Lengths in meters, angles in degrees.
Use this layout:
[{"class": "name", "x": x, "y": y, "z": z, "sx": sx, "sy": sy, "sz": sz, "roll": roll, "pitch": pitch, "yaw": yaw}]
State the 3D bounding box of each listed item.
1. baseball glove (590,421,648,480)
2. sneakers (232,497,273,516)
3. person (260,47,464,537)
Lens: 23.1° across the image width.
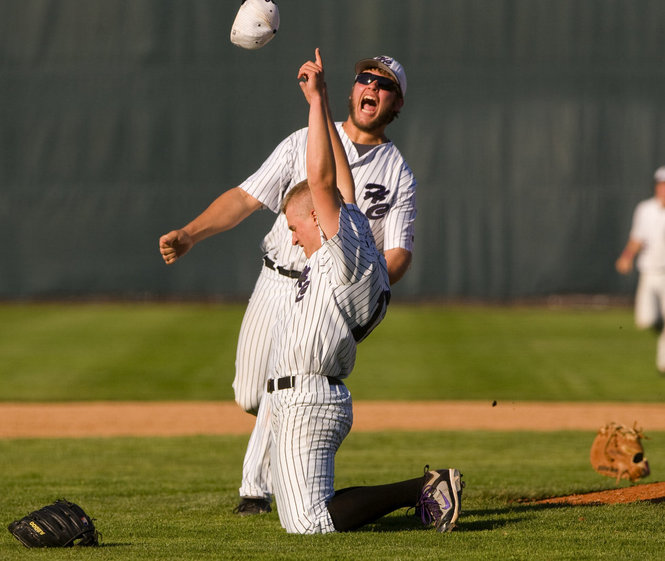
[{"class": "baseball glove", "x": 2.138, "y": 1.281, "z": 12.226, "sx": 0.436, "sy": 0.397, "sz": 0.193, "roll": 2, "pitch": 8, "yaw": 10}, {"class": "sneakers", "x": -0.558, "y": 1.558, "z": 11.195, "sx": 0.262, "sy": 0.241, "sz": 0.111, "roll": 2, "pitch": -8, "yaw": -2}, {"class": "person", "x": 0.098, "y": 0.129, "z": 10.509, "sx": 1.051, "sy": 3.001, "sz": 0.470, "roll": -1, "pitch": 8, "yaw": -6}]
